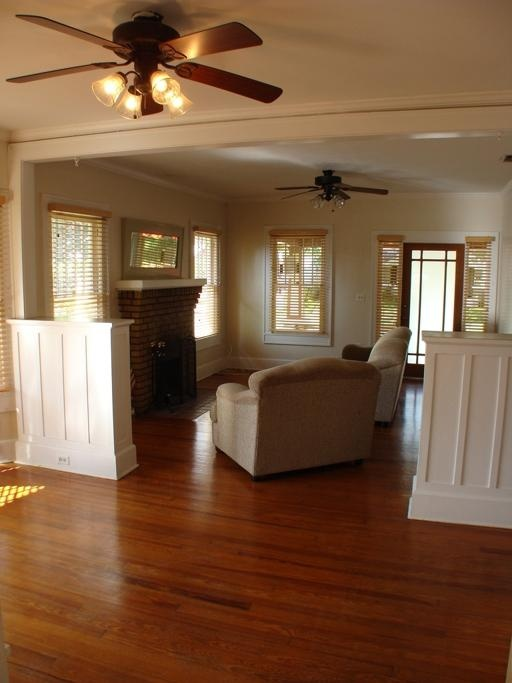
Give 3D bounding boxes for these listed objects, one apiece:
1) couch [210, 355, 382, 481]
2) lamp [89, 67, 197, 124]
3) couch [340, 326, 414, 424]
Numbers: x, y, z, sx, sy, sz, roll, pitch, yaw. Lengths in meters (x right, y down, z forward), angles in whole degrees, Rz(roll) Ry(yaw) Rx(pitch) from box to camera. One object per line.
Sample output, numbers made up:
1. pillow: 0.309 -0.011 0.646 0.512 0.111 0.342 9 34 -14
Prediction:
1. couch: 0.248 0.523 4.100 1.351 0.773 1.386 2 4 34
2. lamp: -0.448 -0.921 1.903 0.295 0.116 0.101 -2 1 -44
3. couch: 1.180 0.326 4.918 0.440 0.433 1.031 0 7 17
